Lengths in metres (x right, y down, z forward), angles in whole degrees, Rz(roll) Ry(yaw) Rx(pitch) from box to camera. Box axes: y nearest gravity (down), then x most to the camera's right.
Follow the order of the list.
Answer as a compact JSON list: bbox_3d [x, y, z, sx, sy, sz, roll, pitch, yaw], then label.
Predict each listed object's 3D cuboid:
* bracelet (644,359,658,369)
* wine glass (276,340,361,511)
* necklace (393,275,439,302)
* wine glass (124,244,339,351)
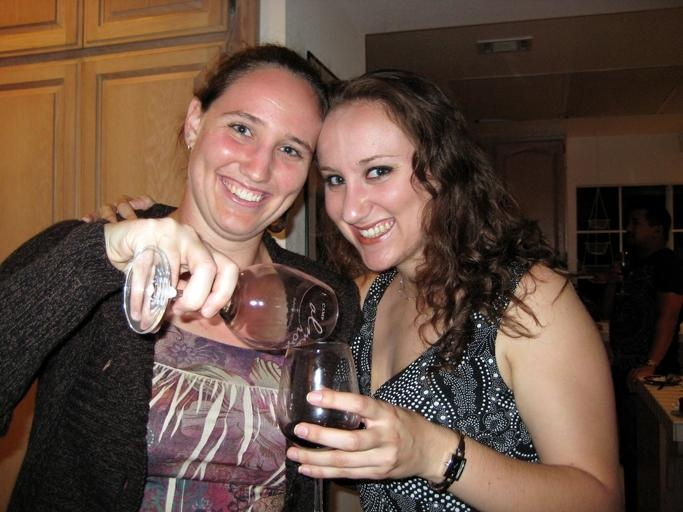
[{"bbox_3d":[1.958,0.677,3.915,0.052,0.013,0.050,39,4,40],"label":"bracelet"},{"bbox_3d":[-0.064,0.562,1.902,0.245,0.632,0.383,2,3,2],"label":"wine glass"},{"bbox_3d":[0.282,0.124,2.320,0.110,0.095,0.038,21,41,35],"label":"necklace"},{"bbox_3d":[-0.317,0.147,1.910,0.282,0.313,0.682,7,0,44],"label":"wine glass"}]
